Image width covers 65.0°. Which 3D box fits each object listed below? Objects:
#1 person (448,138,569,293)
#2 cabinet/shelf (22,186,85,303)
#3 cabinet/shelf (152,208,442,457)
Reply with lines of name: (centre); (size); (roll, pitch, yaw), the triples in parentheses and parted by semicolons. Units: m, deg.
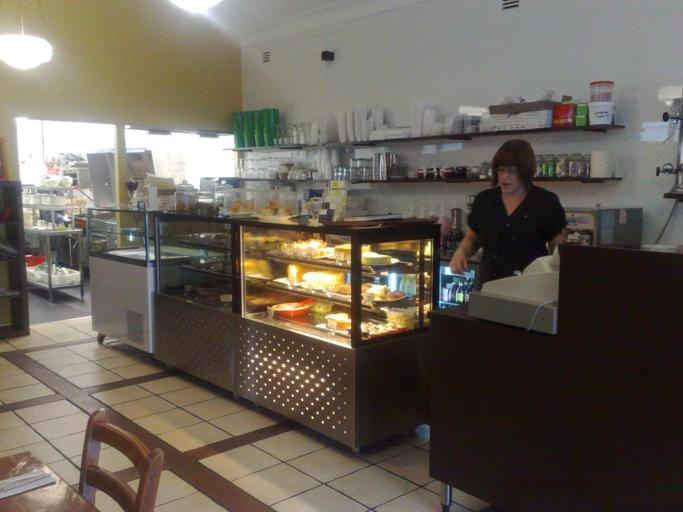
person: (1.106, -0.269, 3.523); (0.678, 0.963, 0.458); (4, 10, 22)
cabinet/shelf: (-4.373, -0.178, 8.118); (0.542, 1.539, 1.773); (-2, 5, -33)
cabinet/shelf: (-0.587, 0.395, 4.687); (2.669, 1.548, 0.898); (7, 8, 43)
